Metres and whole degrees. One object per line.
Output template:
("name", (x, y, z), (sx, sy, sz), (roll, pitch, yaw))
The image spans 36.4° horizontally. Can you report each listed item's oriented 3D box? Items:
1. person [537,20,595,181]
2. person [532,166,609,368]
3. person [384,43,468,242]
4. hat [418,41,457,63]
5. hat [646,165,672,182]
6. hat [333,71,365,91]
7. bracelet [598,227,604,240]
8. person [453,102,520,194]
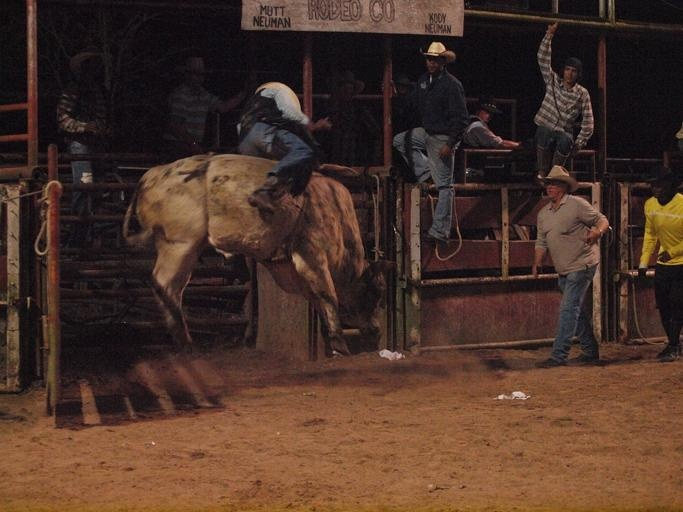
("person", (2.948, -2.090, 14.015), (0.802, 1.962, 0.480), (-4, 15, -13))
("person", (2.799, 0.172, 12.893), (0.871, 2.477, 0.694), (6, 16, 23))
("person", (1.182, -1.570, 13.987), (1.136, 2.582, 0.876), (10, 11, 36))
("hat", (1.268, -2.712, 13.804), (0.403, 0.247, 0.371), (1, 14, 3))
("hat", (3.985, -1.029, 13.083), (0.274, 0.183, 0.293), (-6, 15, -21))
("hat", (0.078, -2.489, 14.793), (0.447, 0.163, 0.432), (0, -22, -4))
("bracelet", (3.183, -0.285, 12.870), (0.049, 0.158, 0.117), (8, -30, 23))
("person", (2.111, -1.543, 14.595), (0.883, 1.314, 0.757), (-6, 27, -16))
